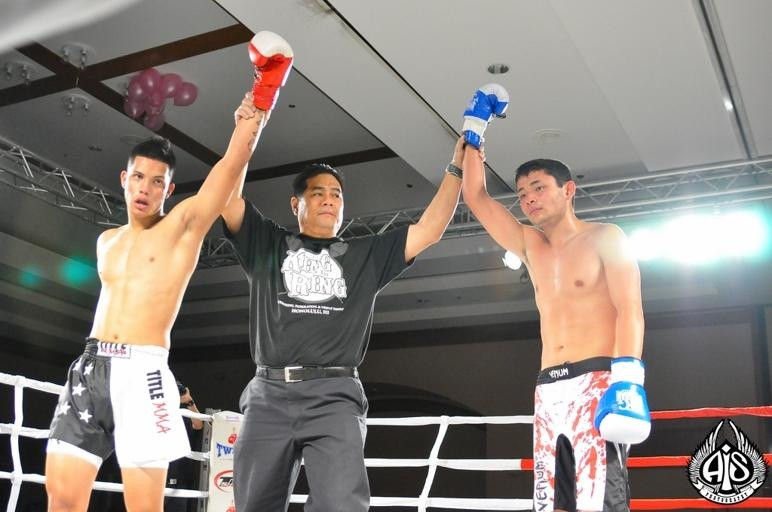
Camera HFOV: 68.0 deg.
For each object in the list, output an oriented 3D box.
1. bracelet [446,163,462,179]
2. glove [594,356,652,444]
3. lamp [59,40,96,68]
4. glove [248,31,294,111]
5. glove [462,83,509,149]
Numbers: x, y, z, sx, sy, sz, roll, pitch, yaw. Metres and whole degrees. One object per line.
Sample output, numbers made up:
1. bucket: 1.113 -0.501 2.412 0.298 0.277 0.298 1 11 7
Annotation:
1. bracelet: 0.368 -0.455 3.008 0.086 0.036 0.061 28 -2 -27
2. glove: 1.017 0.625 2.499 0.228 0.371 0.256 -14 -30 28
3. lamp: -3.306 -2.157 6.111 0.330 0.239 0.081 16 14 13
4. glove: -0.554 -0.905 2.708 0.196 0.431 0.286 9 -28 -16
5. glove: 0.553 -0.732 3.198 0.249 0.382 0.150 10 -12 15
